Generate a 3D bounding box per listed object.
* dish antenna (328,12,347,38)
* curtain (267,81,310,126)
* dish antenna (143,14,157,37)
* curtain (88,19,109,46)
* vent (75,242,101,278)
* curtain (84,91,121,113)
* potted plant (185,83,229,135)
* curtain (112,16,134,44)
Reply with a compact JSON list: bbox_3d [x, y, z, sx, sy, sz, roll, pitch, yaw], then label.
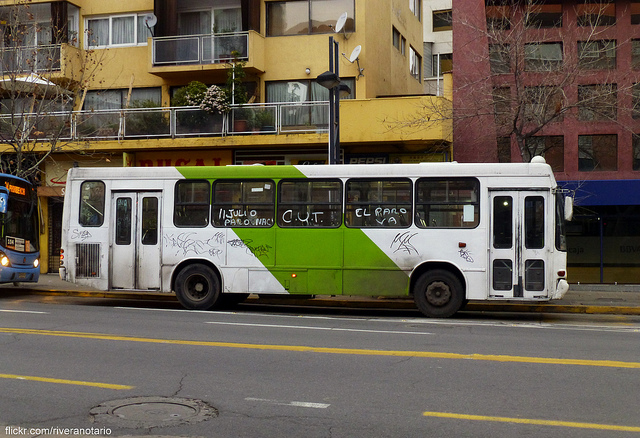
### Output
[{"bbox_3d":[0.815,-7.824,28.051,0.896,0.923,0.973,-9,12,1],"label":"dish antenna"},{"bbox_3d":[-1.277,-4.822,29.448,1.940,2.156,0.086,-3,-10,14],"label":"curtain"},{"bbox_3d":[-7.561,-8.796,31.391,0.545,0.849,0.592,-2,5,18],"label":"dish antenna"},{"bbox_3d":[-10.271,-8.659,32.746,1.200,1.532,0.155,0,-5,0],"label":"curtain"},{"bbox_3d":[-6.834,1.236,20.844,0.758,1.013,0.094,4,11,-2],"label":"vent"},{"bbox_3d":[-9.851,-5.331,32.081,1.238,0.975,0.126,0,-5,5],"label":"curtain"},{"bbox_3d":[-4.651,-4.547,29.308,1.915,1.996,0.805,5,8,36],"label":"potted plant"},{"bbox_3d":[-9.091,-8.761,32.576,1.123,1.310,0.091,5,-3,11],"label":"curtain"}]
